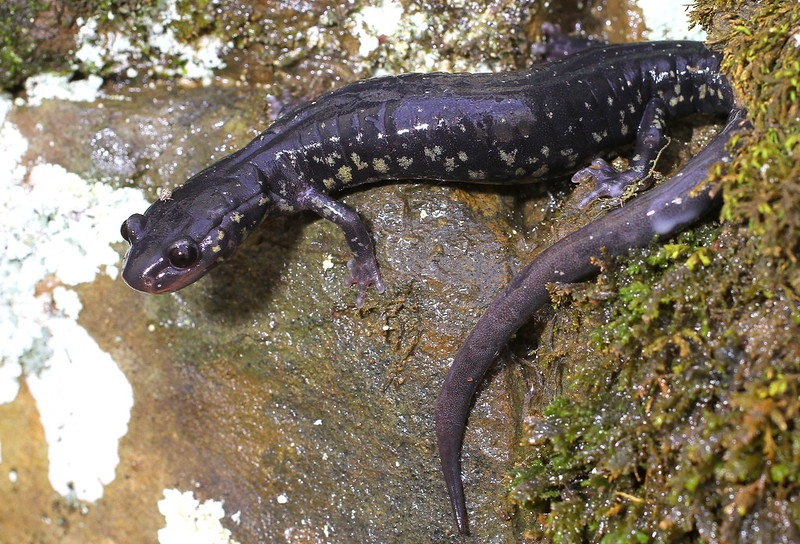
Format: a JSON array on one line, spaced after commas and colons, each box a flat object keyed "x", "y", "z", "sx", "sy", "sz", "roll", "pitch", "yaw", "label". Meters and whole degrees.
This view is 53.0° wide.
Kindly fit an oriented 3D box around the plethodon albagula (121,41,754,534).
[{"x": 0.419, "y": -0.505, "z": 5.913, "sx": 4.184, "sy": 1.792, "sz": 1.807, "roll": -16, "pitch": 32, "yaw": 13, "label": "plethodon albagula"}]
